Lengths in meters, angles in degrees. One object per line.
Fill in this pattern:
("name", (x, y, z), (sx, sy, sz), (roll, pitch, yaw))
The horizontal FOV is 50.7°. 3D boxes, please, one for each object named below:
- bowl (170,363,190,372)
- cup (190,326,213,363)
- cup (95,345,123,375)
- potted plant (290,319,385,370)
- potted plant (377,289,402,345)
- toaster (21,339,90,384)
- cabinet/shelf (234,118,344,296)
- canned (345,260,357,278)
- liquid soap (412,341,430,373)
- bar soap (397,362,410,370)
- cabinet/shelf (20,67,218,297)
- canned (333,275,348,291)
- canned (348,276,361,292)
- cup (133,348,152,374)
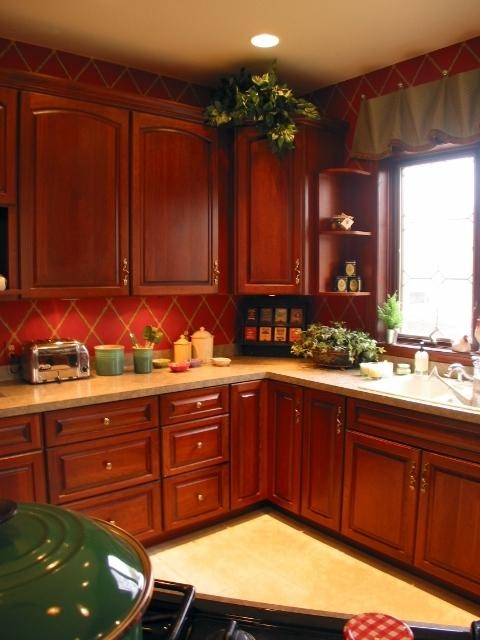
("bowl", (-0.364, 0.283, 3.045), (0.105, 0.052, 0.084), (-1, 2, -15))
("cup", (-0.244, 0.154, 3.316), (0.175, 0.285, 0.211), (-1, 2, 6))
("cup", (-0.749, 0.217, 2.897), (0.158, 0.153, 0.158), (0, 5, 0))
("potted plant", (0.545, 0.134, 3.230), (0.396, 0.212, 0.404), (2, 5, -40))
("potted plant", (0.967, -0.004, 3.233), (0.165, 0.291, 0.163), (7, -7, -22))
("toaster", (-0.969, 0.191, 2.719), (0.300, 0.206, 0.201), (-4, 18, -28))
("cabinet/shelf", (0.278, -0.662, 3.439), (0.592, 0.968, 0.645), (0, 12, 3))
("canned", (0.725, -0.338, 3.314), (0.077, 0.122, 0.141), (1, 2, 11))
("liquid soap", (1.049, 0.223, 2.918), (0.066, 0.176, 0.206), (1, 3, 23))
("bar soap", (0.957, 0.271, 2.993), (0.048, 0.029, 0.047), (-1, 0, -45))
("cabinet/shelf", (-0.707, -0.678, 3.000), (1.200, 1.031, 0.427), (-4, 11, -35))
("canned", (0.651, -0.233, 3.245), (0.087, 0.101, 0.089), (3, 6, 25))
("canned", (0.730, -0.230, 3.253), (0.096, 0.101, 0.094), (-1, 3, -2))
("cup", (-0.578, 0.235, 3.022), (0.111, 0.152, 0.142), (-1, 2, -13))
